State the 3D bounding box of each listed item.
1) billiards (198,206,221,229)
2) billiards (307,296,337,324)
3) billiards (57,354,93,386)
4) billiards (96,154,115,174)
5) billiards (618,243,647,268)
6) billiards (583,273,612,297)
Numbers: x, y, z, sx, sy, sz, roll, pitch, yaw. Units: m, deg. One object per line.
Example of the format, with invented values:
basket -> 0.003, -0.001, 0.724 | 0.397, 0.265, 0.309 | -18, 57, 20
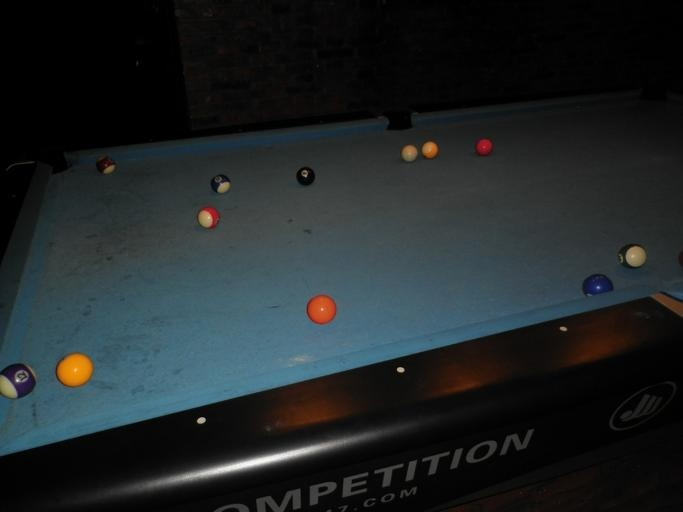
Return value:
billiards -> -0.596, -0.172, 2.604 | 0.094, 0.093, 0.099 | 21, -62, 16
billiards -> -0.070, 0.191, 2.060 | 0.114, 0.092, 0.099 | -10, -51, -6
billiards -> -0.882, 0.364, 1.868 | 0.112, 0.109, 0.099 | 0, -53, -14
billiards -> -1.268, -0.489, 3.052 | 0.091, 0.100, 0.077 | -16, -49, -30
billiards -> 1.156, -0.002, 2.280 | 0.093, 0.098, 0.076 | -6, -37, 3
billiards -> 0.979, 0.114, 2.192 | 0.084, 0.086, 0.100 | -3, -62, -11
